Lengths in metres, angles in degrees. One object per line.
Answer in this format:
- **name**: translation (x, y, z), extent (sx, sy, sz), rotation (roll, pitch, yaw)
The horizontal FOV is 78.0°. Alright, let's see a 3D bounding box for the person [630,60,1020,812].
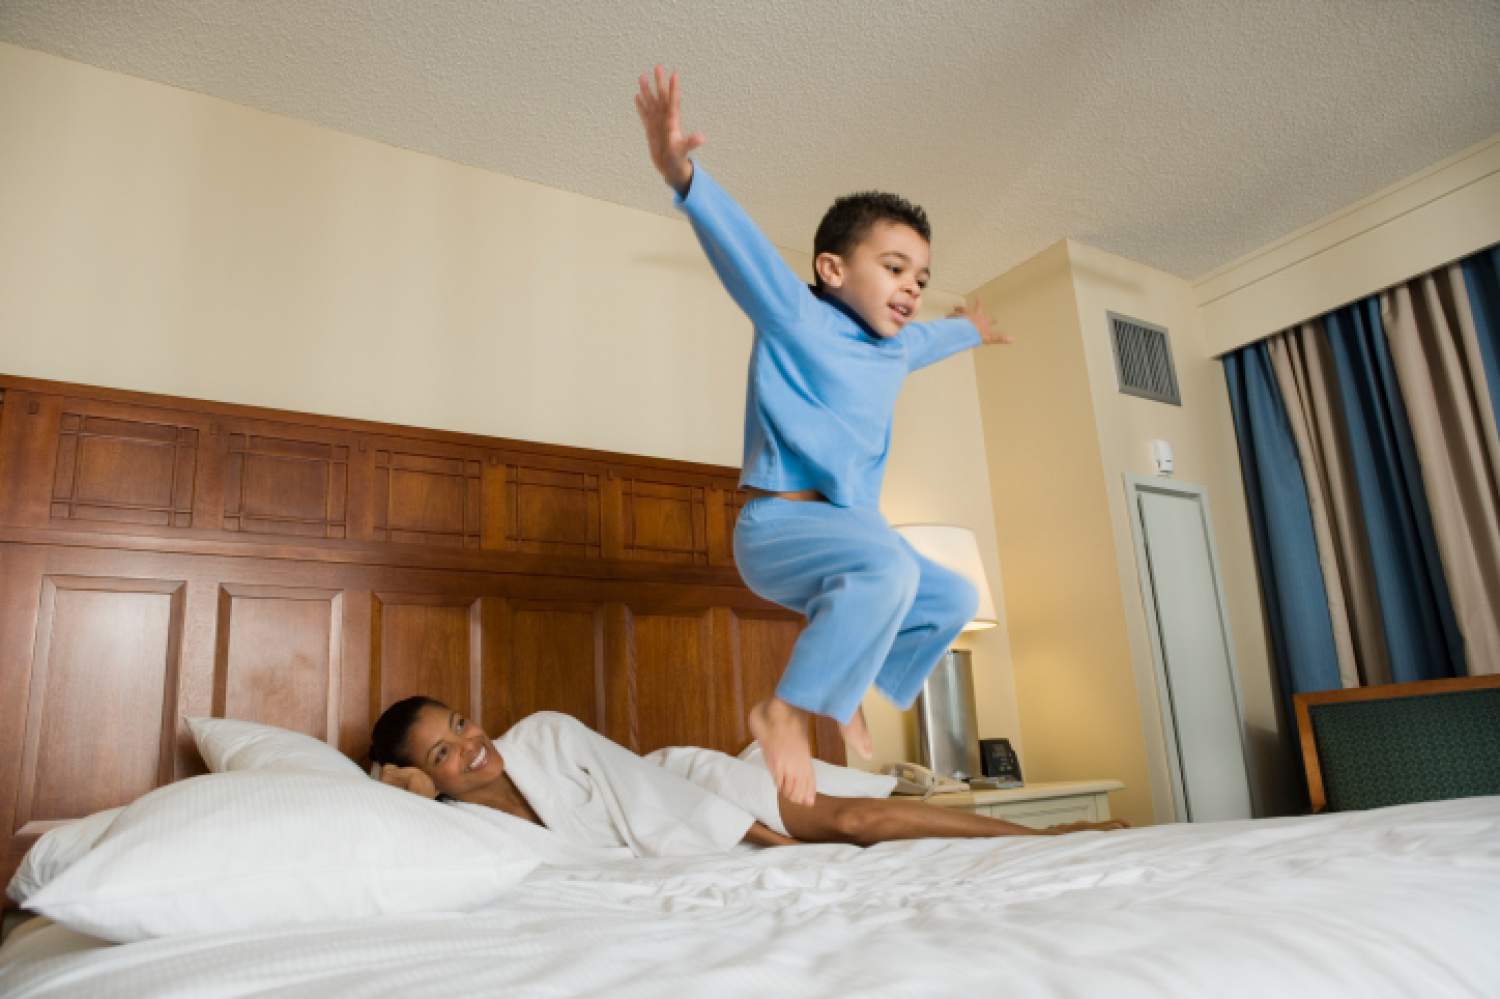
- **person**: translation (0.153, -0.100, 2.112), extent (0.515, 1.520, 1.100), rotation (-16, -20, 42)

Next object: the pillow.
- **pillow**: translation (-0.896, 0.698, 1.798), extent (0.608, 0.174, 0.555), rotation (18, -18, -37)

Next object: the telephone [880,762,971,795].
- **telephone**: translation (0.603, 1.014, 3.307), extent (0.259, 0.085, 0.186), rotation (-14, -18, 38)
